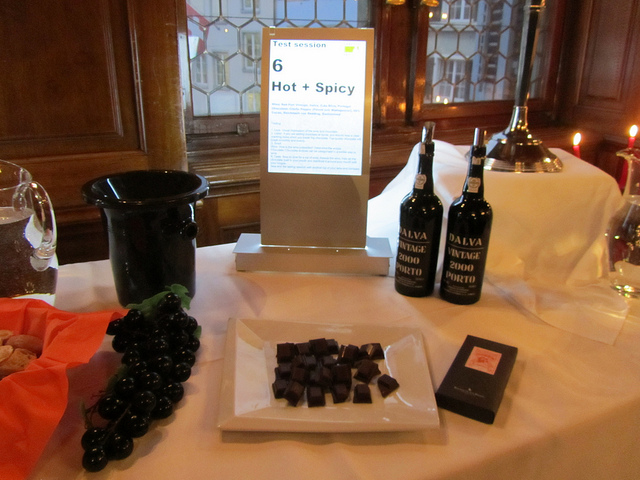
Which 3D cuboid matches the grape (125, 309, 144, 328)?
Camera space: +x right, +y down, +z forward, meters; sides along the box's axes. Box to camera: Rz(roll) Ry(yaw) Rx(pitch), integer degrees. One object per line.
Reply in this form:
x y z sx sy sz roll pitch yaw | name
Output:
-0.313 0.133 0.817 0.028 0.034 0.028 -14 -6 -19 | grape

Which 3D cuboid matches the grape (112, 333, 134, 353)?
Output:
-0.334 0.172 0.818 0.035 0.036 0.013 0 -1 9 | grape

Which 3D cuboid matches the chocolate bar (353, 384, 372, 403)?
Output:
0.069 0.247 0.775 0.020 0.007 0.027 1 32 -1 | chocolate bar

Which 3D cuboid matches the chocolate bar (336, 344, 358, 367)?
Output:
0.049 0.202 0.848 0.030 0.014 0.031 17 52 17 | chocolate bar

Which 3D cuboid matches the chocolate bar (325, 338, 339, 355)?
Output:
0.023 0.191 0.869 0.022 0.010 0.023 -4 37 -8 | chocolate bar

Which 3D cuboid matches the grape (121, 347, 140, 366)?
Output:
-0.298 0.184 0.765 0.025 0.012 0.025 -33 36 6 | grape

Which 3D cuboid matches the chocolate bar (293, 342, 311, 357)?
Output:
-0.029 0.193 0.859 0.022 0.006 0.021 7 31 4 | chocolate bar

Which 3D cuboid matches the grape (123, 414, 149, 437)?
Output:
-0.268 0.273 0.714 0.031 0.024 0.032 7 40 0 | grape

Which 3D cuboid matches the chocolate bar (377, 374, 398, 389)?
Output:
0.116 0.230 0.796 0.017 0.010 0.022 -30 42 -33 | chocolate bar

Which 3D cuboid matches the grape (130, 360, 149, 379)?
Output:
-0.275 0.197 0.738 0.022 0.022 0.026 1 16 25 | grape

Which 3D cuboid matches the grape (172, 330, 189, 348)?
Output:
-0.239 0.169 0.835 0.025 0.021 0.029 3 -2 36 | grape

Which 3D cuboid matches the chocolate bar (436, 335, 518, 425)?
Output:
0.281 0.233 0.850 0.102 0.034 0.171 14 34 32 | chocolate bar

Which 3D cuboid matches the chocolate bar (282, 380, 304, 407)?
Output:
-0.043 0.245 0.777 0.029 0.024 0.036 22 53 8 | chocolate bar

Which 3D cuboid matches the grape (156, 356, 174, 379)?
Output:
-0.253 0.211 0.791 0.025 0.027 0.035 3 58 -18 | grape

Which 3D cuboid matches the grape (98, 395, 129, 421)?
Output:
-0.302 0.247 0.714 0.020 0.020 0.028 44 34 -9 | grape

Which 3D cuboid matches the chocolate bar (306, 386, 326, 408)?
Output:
-0.005 0.249 0.779 0.029 0.020 0.035 0 22 -3 | chocolate bar

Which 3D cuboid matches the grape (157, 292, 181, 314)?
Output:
-0.257 0.106 0.834 0.030 0.024 0.034 3 10 45 | grape

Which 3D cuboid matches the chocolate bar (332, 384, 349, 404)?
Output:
0.035 0.245 0.778 0.020 0.008 0.027 2 34 -4 | chocolate bar

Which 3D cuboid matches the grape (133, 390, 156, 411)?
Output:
-0.263 0.241 0.726 0.031 0.025 0.025 -17 28 -37 | grape

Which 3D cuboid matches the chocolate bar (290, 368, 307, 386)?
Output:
-0.032 0.221 0.796 0.024 0.023 0.042 18 -12 5 | chocolate bar

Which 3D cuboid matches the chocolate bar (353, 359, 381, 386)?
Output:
0.079 0.219 0.810 0.031 0.010 0.037 19 49 22 | chocolate bar

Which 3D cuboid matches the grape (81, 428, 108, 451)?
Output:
-0.321 0.284 0.690 0.033 0.022 0.026 -5 23 -15 | grape

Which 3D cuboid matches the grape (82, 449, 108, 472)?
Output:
-0.312 0.307 0.678 0.024 0.033 0.026 14 43 -6 | grape

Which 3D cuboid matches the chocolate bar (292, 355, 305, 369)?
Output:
-0.040 0.215 0.855 0.016 0.015 0.027 -12 -2 -7 | chocolate bar

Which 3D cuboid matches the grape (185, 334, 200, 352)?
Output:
-0.226 0.185 0.869 0.025 0.026 0.046 5 -2 -15 | grape

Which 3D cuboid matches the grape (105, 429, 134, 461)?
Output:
-0.291 0.300 0.702 0.037 0.042 0.026 -19 29 -40 | grape

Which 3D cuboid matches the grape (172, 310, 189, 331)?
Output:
-0.239 0.137 0.831 0.029 0.029 0.035 10 57 -5 | grape

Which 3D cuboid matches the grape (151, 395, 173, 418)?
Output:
-0.244 0.259 0.754 0.025 0.027 0.034 1 40 -24 | grape

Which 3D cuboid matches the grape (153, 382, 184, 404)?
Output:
-0.241 0.243 0.781 0.039 0.014 0.039 -5 29 -36 | grape

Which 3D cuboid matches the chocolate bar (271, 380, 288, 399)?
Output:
-0.064 0.239 0.780 0.023 0.012 0.024 -2 38 2 | chocolate bar

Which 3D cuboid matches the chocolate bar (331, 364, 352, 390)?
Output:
0.037 0.222 0.800 0.034 0.015 0.034 1 55 -11 | chocolate bar

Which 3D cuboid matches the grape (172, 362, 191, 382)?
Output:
-0.233 0.223 0.819 0.029 0.030 0.030 -7 23 -18 | grape

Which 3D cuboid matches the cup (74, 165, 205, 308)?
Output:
-0.358 0.014 1.026 0.239 0.268 0.230 2 20 -1 | cup

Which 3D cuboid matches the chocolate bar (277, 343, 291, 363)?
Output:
-0.062 0.198 0.848 0.031 0.024 0.043 -2 31 -4 | chocolate bar
